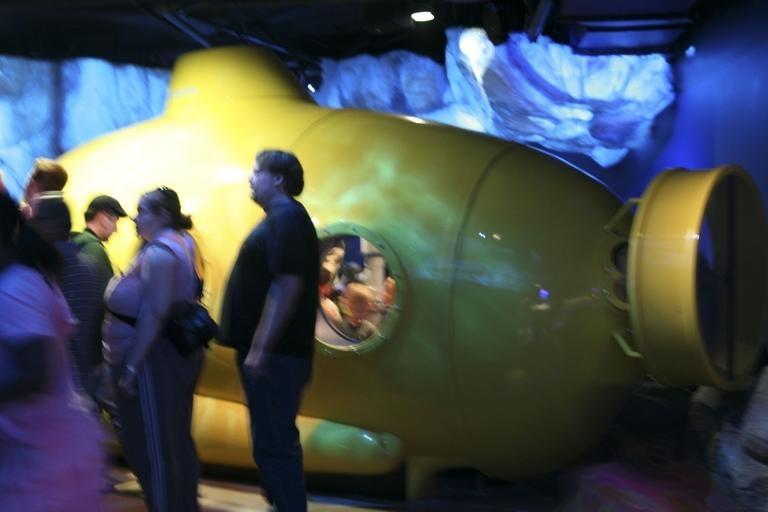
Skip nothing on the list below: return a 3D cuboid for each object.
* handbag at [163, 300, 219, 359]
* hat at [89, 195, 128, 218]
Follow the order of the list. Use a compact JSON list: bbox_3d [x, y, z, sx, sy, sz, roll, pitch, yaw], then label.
[{"bbox_3d":[-0.833,0.316,2.891,0.208,0.214,0.081,21,-12,-17],"label":"handbag"},{"bbox_3d":[-1.358,-0.241,3.287,0.143,0.078,0.094,0,-2,-20],"label":"hat"}]
